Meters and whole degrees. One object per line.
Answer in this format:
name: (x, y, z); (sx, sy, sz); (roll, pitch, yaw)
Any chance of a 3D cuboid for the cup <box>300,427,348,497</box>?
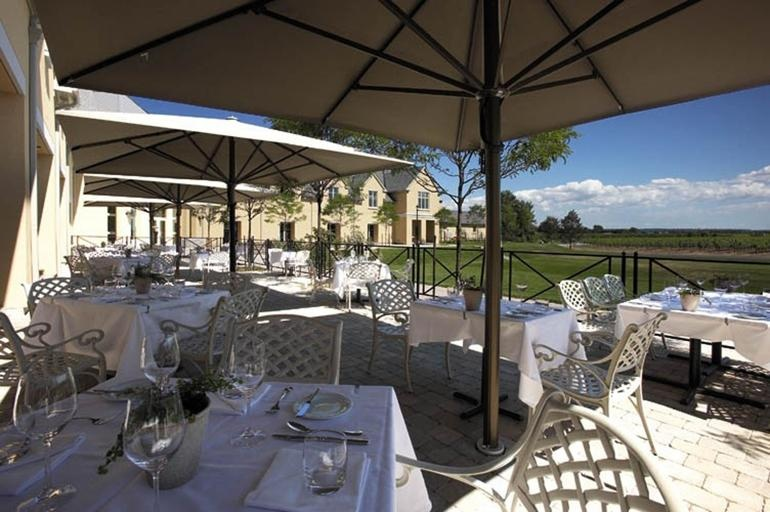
cup: (-0.306, 1.056, 2.498); (0.237, 0.263, 0.250); (0, -3, 0)
